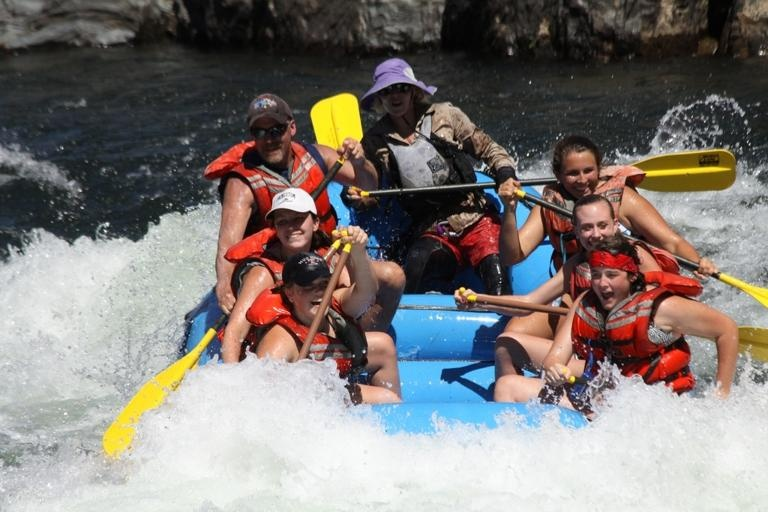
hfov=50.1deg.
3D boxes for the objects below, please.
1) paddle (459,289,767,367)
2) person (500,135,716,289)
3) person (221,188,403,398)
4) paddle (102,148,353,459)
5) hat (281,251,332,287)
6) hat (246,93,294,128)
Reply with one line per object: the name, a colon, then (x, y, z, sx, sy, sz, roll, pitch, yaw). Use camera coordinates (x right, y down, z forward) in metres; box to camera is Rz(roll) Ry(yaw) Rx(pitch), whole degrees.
paddle: (1.623, 0.557, 6.174, 2.347, 0.454, 0.254, 9, -8, 9)
person: (1.941, -0.341, 7.060, 1.446, 1.841, 0.608, -10, -7, -1)
person: (-0.668, 0.228, 6.421, 1.330, 0.982, 1.633, -4, 16, -34)
paddle: (-1.252, 0.433, 6.621, 3.656, 0.409, 0.227, -44, -3, -17)
hat: (-0.562, 0.095, 5.889, 0.225, 0.166, 0.292, -9, -9, -37)
hat: (-0.971, -1.224, 6.837, 0.361, 0.246, 0.300, -13, 27, -15)
